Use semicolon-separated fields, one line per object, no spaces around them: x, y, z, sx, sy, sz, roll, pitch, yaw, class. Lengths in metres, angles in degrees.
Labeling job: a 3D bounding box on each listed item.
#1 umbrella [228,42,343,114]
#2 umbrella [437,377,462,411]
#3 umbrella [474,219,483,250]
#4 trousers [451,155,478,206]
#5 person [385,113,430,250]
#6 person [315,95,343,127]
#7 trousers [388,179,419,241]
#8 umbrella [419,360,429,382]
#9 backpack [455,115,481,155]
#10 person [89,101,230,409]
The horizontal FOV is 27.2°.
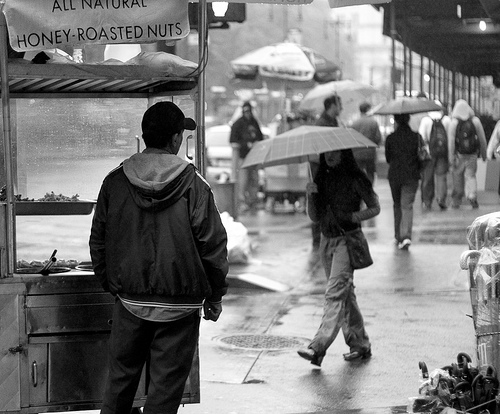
1.013;-2.778;23.398;2.788;1.701;2.875;-3;11;-34;umbrella
1.467;1.365;7.585;0.091;0.187;0.268;-3;7;-10;umbrella
1.767;0.216;7.986;0.041;0.218;0.118;-3;7;-10;umbrella
3.044;-0.358;14.684;0.368;0.861;1.297;-1;7;11;trousers
1.768;-0.322;11.693;0.441;1.543;1.824;-1;7;9;person
0.935;-1.126;12.289;0.310;0.342;0.859;-2;7;4;person
1.787;0.035;12.164;0.347;0.303;0.973;20;-20;16;trousers
1.360;1.256;8.074;0.070;0.147;0.333;-1;7;9;umbrella
2.989;-0.985;13.857;0.366;0.554;0.359;-4;7;6;backpack
-0.629;0.333;7.129;0.928;2.081;0.444;-3;7;-9;person
